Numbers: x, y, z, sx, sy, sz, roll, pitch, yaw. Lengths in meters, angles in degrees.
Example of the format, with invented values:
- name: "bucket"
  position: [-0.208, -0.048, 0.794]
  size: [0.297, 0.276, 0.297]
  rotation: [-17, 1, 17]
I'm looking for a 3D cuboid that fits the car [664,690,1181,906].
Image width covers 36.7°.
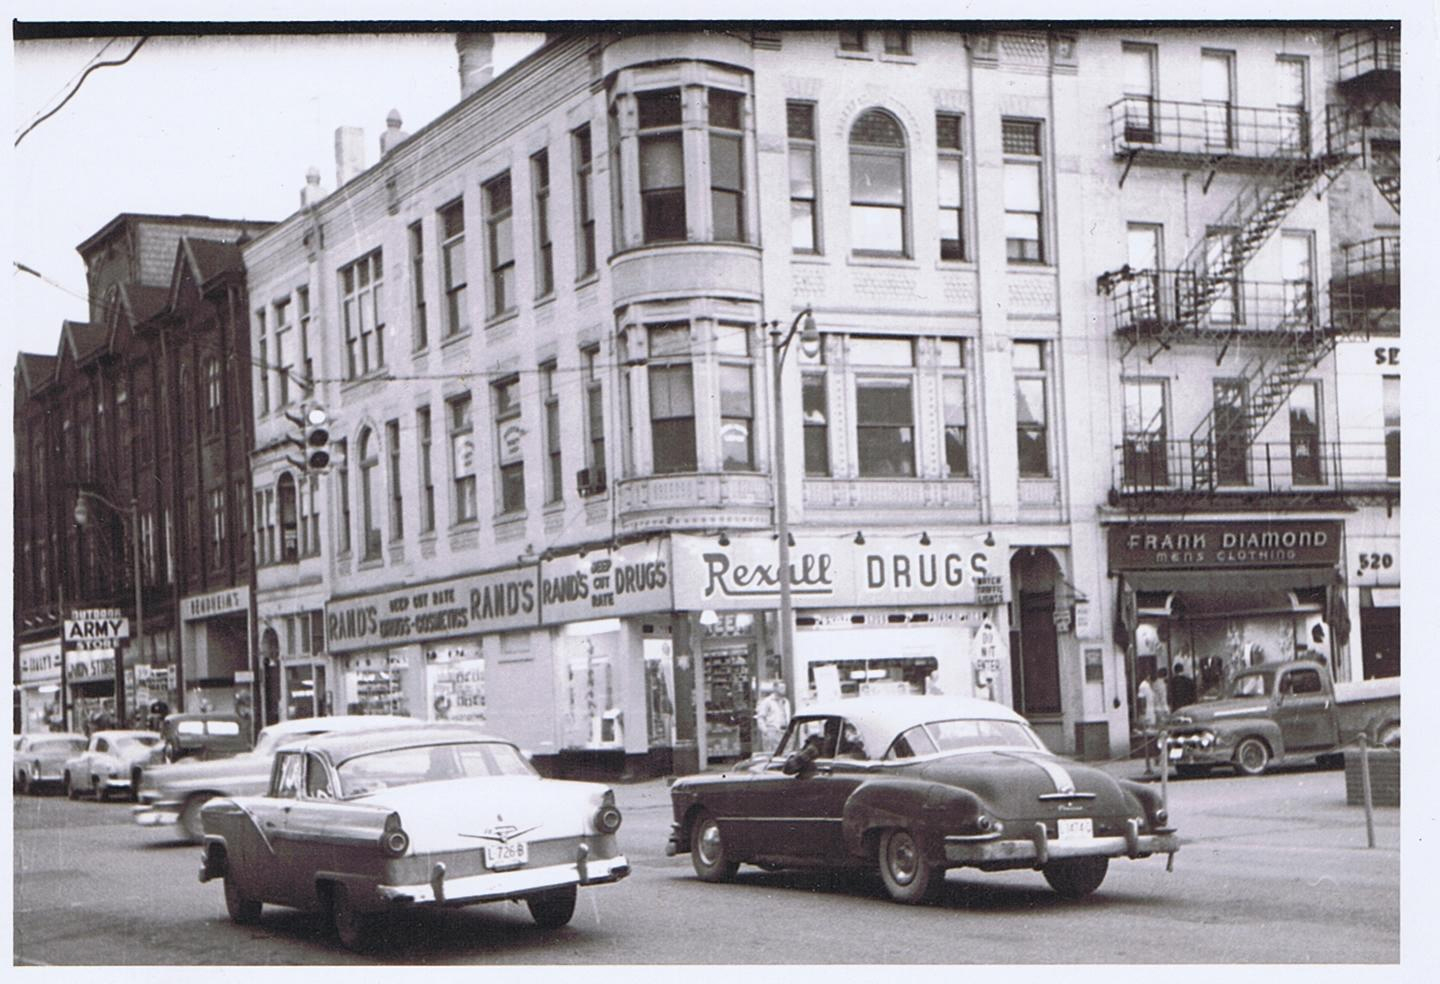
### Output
- name: "car"
  position: [2.473, 3.779, 28.856]
  size: [2.997, 1.781, 4.709]
  rotation: [7, -7, -42]

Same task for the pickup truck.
- name: "pickup truck"
  position: [9.963, 4.006, 38.663]
  size: [4.016, 1.758, 2.403]
  rotation: [0, -8, -11]

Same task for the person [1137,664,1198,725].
- name: "person"
  position: [8.189, 3.645, 39.882]
  size: [0.993, 1.914, 1.000]
  rotation: [-1, 0, 6]

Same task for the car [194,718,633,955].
- name: "car"
  position: [-4.403, 4.351, 27.808]
  size: [2.642, 1.763, 4.392]
  rotation: [4, -5, -40]
